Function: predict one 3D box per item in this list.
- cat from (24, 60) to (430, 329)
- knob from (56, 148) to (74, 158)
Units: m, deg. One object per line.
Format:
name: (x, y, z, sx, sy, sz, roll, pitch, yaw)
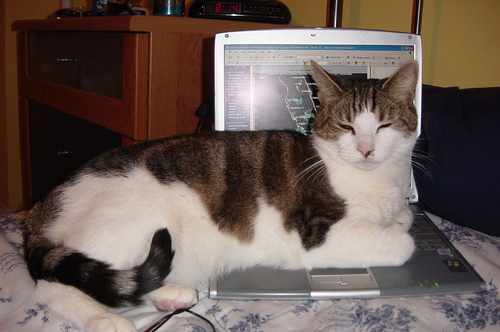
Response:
cat: (-0.078, 0.130, 1.357, 1.234, 0.606, 0.758, -5, 18, 4)
knob: (-0.953, -0.071, 2.122, 0.111, 0.052, 0.045, 4, -3, 40)
